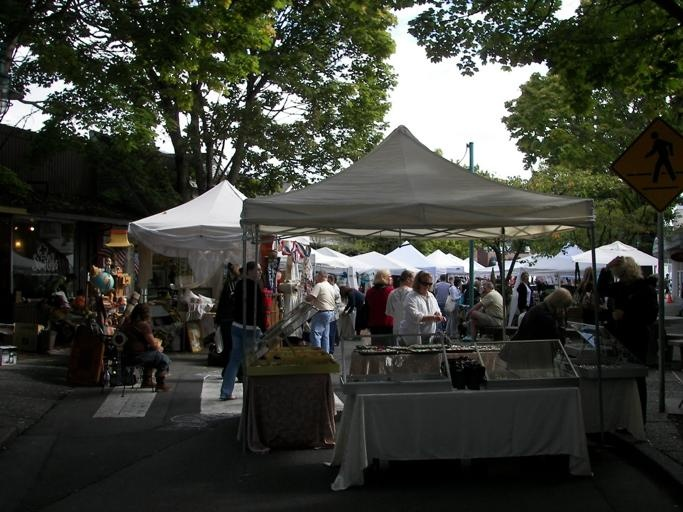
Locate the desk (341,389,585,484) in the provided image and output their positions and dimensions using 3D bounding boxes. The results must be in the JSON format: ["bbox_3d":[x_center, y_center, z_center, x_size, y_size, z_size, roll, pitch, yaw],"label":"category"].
[{"bbox_3d":[1.287,1.625,6.050,1.679,0.504,1.140,0,-6,1],"label":"desk"}]

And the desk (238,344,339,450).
[{"bbox_3d":[-0.679,1.830,7.632,1.166,0.982,1.473,-1,-8,-7],"label":"desk"}]

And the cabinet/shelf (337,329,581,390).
[{"bbox_3d":[1.209,1.132,6.589,2.428,0.410,1.094,-1,3,-1],"label":"cabinet/shelf"}]

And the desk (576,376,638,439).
[{"bbox_3d":[3.122,1.754,7.187,0.642,0.713,0.732,-6,-4,8],"label":"desk"}]

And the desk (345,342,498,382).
[{"bbox_3d":[0.834,1.194,6.764,1.398,0.292,0.788,-4,-2,33],"label":"desk"}]

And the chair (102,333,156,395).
[{"bbox_3d":[-3.651,1.803,10.394,0.646,0.982,0.899,-1,-2,3],"label":"chair"}]

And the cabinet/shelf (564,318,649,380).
[{"bbox_3d":[3.025,1.175,7.128,0.610,0.530,1.157,-1,-2,-9],"label":"cabinet/shelf"}]

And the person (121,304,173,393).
[{"bbox_3d":[-3.225,1.513,9.935,0.690,1.449,0.359,-3,4,-21],"label":"person"}]
